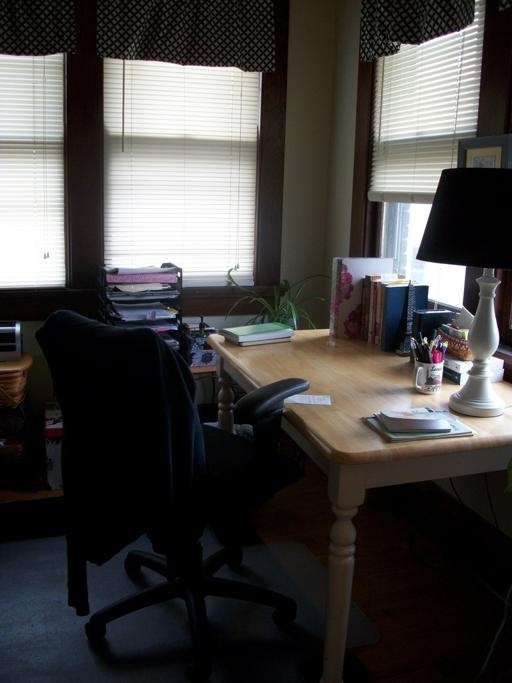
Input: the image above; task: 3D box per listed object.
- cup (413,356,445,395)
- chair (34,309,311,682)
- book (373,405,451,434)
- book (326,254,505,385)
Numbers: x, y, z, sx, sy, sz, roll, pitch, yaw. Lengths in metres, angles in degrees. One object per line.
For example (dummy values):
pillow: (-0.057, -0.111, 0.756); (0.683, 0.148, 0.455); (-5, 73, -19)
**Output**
cup: (0.458, 0.091, 1.491); (0.089, 0.084, 0.057); (-14, 19, -37)
chair: (-0.211, 0.450, 1.455); (0.586, 0.923, 0.617); (15, 23, 42)
book: (0.344, 0.160, 1.190); (0.160, 0.035, 0.123); (-2, 12, -8)
book: (0.513, -0.117, 2.059); (0.396, 0.437, 0.297); (-5, 13, -31)
